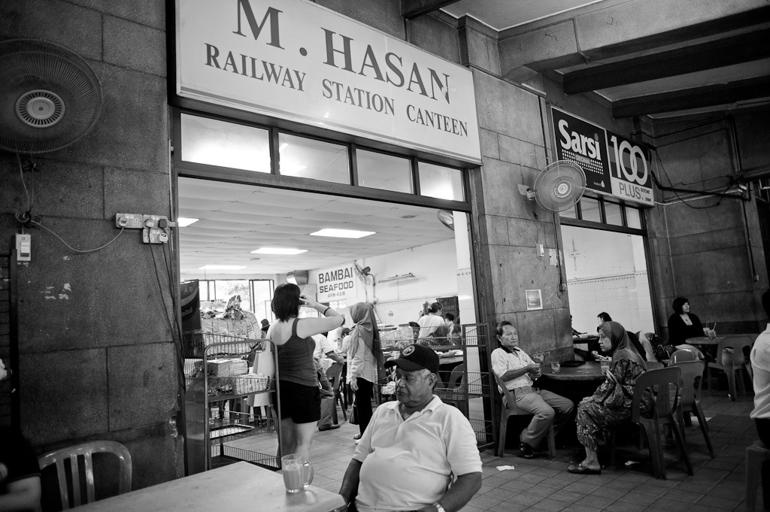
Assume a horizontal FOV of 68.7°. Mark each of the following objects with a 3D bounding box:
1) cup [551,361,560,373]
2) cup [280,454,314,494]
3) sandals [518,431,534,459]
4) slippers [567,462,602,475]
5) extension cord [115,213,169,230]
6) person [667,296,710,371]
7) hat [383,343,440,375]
[{"bbox_3d":[2.244,1.455,7.400,0.111,0.121,0.108,0,1,0],"label":"cup"},{"bbox_3d":[-0.645,1.591,4.157,0.212,0.269,0.172,-4,0,-13],"label":"cup"},{"bbox_3d":[1.764,2.395,7.033,0.143,0.368,0.158,1,-2,-35],"label":"sandals"},{"bbox_3d":[2.308,2.471,6.525,0.282,0.091,0.158,4,-4,17],"label":"slippers"},{"bbox_3d":[-2.359,-0.338,5.384,0.396,0.152,0.094,-4,0,-32],"label":"extension cord"},{"bbox_3d":[5.425,1.352,10.052,0.771,1.210,0.603,0,5,44],"label":"person"},{"bbox_3d":[0.240,0.806,4.443,0.318,0.163,0.220,15,-11,-13],"label":"hat"}]
